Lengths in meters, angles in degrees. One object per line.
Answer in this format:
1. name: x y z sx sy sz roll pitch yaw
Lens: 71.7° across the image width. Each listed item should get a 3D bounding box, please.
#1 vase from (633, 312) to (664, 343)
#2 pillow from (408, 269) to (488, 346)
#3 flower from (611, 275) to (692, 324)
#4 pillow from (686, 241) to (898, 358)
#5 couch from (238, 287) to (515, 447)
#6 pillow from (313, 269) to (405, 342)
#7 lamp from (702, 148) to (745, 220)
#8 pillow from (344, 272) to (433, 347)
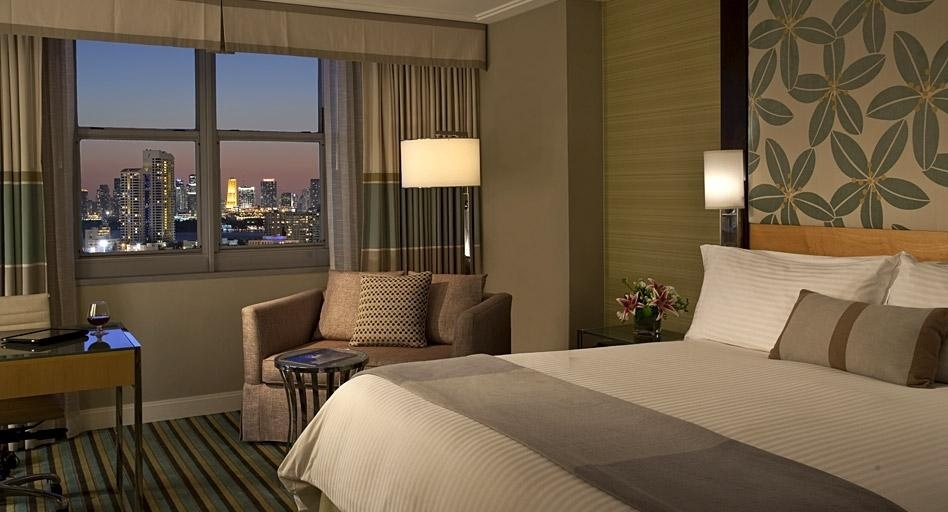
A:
1. vase: 1.523 0.614 5.745 0.274 0.296 0.265 -1 -2 3
2. pillow: -0.254 0.496 6.044 0.645 0.526 0.329 3 12 35
3. flower: 1.543 0.402 5.768 0.474 0.260 0.558 12 32 42
4. pillow: 2.361 0.333 4.796 0.249 0.515 0.865 28 -17 -33
5. couch: -0.917 1.046 6.388 2.305 1.304 1.718 1 1 12
6. pillow: -1.174 0.509 6.403 0.751 0.652 0.221 0 -10 31
7. lamp: 2.144 -0.637 5.595 0.384 0.497 0.169 1 7 4
8. pillow: -0.784 0.519 6.080 0.671 0.555 0.335 1 11 6
